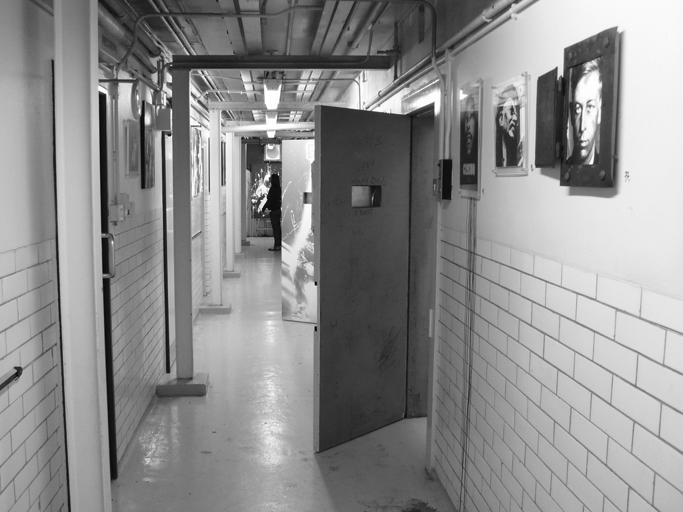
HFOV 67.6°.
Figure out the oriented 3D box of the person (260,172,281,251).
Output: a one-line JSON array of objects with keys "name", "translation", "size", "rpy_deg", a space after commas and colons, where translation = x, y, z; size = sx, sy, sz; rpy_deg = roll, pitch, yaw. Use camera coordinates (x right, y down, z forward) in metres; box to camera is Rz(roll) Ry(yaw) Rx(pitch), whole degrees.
[{"name": "person", "translation": [-1.850, -1.147, 13.682], "size": [0.411, 2.123, 1.089], "rpy_deg": [-1, 7, -11]}]
